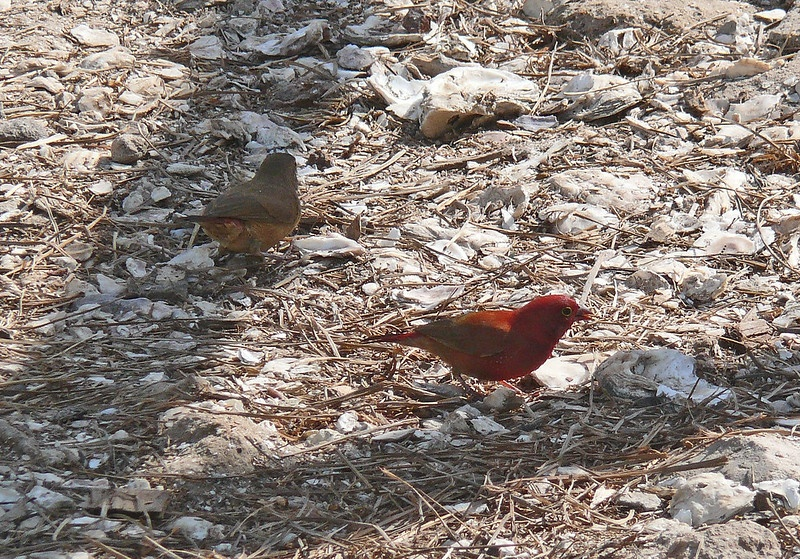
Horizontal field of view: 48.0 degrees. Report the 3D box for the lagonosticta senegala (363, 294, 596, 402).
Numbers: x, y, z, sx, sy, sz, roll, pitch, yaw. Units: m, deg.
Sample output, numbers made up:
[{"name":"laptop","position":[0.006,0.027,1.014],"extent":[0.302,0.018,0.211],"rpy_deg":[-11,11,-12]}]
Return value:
[{"name":"lagonosticta senegala","position":[0.559,0.370,5.543],"extent":[1.174,0.576,0.422],"rpy_deg":[-6,49,-13]}]
